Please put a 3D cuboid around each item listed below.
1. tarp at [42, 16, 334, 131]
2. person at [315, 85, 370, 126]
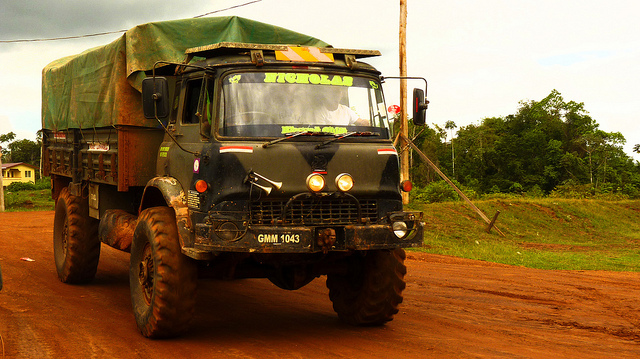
[{"bbox_3d":[-3.695,-2.802,13.261,4.548,2.176,7.767,-12,6,32],"label":"tarp"},{"bbox_3d":[0.336,-1.311,9.823,1.208,0.999,0.654,-7,-6,-32],"label":"person"}]
